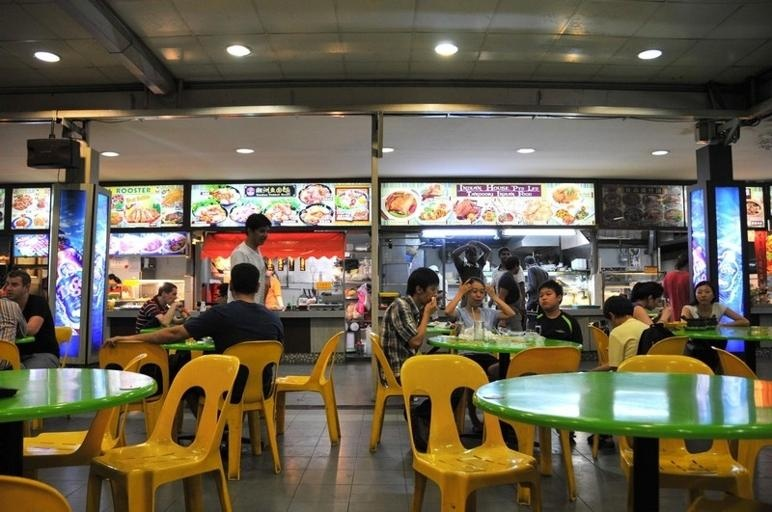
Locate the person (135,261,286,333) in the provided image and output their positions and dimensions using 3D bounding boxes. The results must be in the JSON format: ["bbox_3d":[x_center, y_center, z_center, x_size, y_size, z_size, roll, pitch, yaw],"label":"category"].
[{"bbox_3d":[-2.415,0.539,8.689,1.389,1.429,0.619,1,3,-42],"label":"person"}]

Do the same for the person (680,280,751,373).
[{"bbox_3d":[3.894,0.872,7.799,0.831,1.010,0.604,-11,5,11],"label":"person"}]

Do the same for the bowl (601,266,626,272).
[{"bbox_3d":[4.193,0.254,11.937,0.428,0.071,0.723,0,-1,18],"label":"bowl"}]

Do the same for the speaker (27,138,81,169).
[{"bbox_3d":[-4.130,-1.237,8.043,0.727,0.352,0.428,1,-2,-17],"label":"speaker"}]

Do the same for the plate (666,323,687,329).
[{"bbox_3d":[3.227,0.777,7.195,0.174,0.044,0.117,1,-3,-13],"label":"plate"}]

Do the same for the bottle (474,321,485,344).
[{"bbox_3d":[0.867,0.711,6.078,0.159,0.213,0.147,-1,-5,0],"label":"bottle"}]
